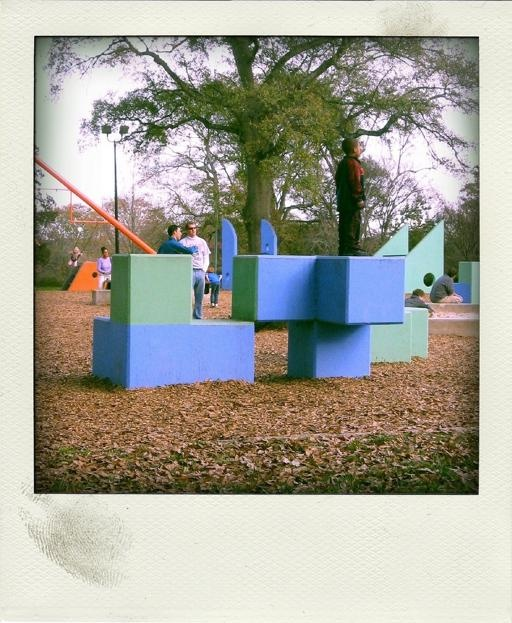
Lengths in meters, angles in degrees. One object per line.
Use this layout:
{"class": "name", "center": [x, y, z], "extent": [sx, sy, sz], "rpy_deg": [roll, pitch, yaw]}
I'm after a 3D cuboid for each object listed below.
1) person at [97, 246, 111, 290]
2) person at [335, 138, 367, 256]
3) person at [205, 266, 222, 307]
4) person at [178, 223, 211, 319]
{"class": "person", "center": [-3.259, -0.907, 18.616], "extent": [0.245, 0.878, 0.950], "rpy_deg": [0, 5, -8]}
{"class": "person", "center": [1.076, -1.308, 10.040], "extent": [0.324, 1.328, 0.855], "rpy_deg": [1, 5, 6]}
{"class": "person", "center": [-0.828, -0.470, 16.814], "extent": [0.271, 0.848, 0.286], "rpy_deg": [-1, -22, 0]}
{"class": "person", "center": [-0.783, -0.516, 11.501], "extent": [0.331, 1.192, 0.279], "rpy_deg": [-5, 4, -12]}
